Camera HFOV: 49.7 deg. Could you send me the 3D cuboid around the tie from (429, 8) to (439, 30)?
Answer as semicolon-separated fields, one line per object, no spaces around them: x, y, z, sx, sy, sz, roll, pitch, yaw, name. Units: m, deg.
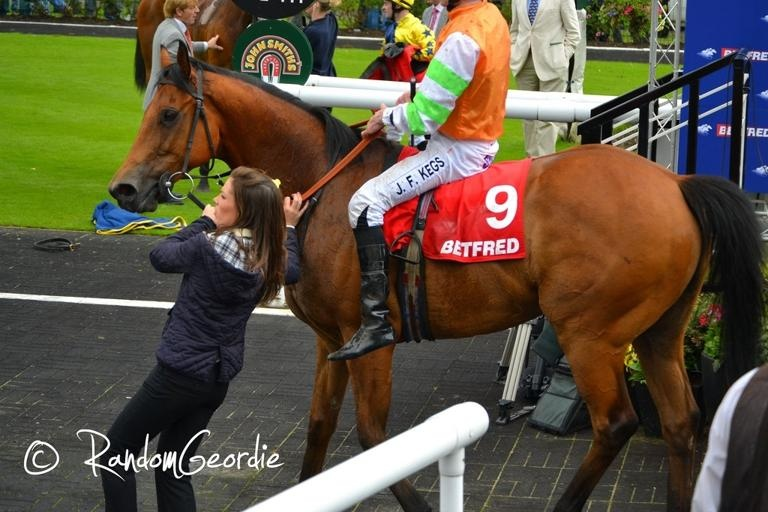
0.751;-3.493;12.142;0.106;0.399;0.160;10;-17;-8;tie
